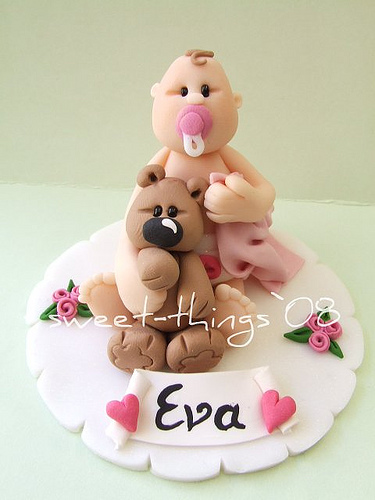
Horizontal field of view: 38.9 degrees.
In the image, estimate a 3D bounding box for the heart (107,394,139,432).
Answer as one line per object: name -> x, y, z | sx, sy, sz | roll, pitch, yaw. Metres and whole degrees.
heart -> -0.189, 0.473, 1.543 | 0.089, 0.044, 0.110 | -3, 37, 0
